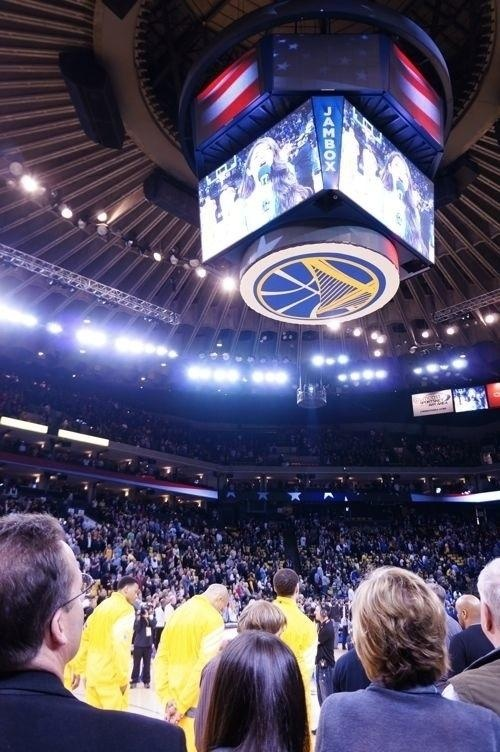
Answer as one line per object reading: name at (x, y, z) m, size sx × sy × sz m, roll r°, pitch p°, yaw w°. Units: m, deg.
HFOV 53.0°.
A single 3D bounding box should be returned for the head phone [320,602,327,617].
head phone at (1.033, 3.261, 7.017) m, size 0.108 × 0.108 × 0.242 m, roll -4°, pitch -14°, yaw 6°
